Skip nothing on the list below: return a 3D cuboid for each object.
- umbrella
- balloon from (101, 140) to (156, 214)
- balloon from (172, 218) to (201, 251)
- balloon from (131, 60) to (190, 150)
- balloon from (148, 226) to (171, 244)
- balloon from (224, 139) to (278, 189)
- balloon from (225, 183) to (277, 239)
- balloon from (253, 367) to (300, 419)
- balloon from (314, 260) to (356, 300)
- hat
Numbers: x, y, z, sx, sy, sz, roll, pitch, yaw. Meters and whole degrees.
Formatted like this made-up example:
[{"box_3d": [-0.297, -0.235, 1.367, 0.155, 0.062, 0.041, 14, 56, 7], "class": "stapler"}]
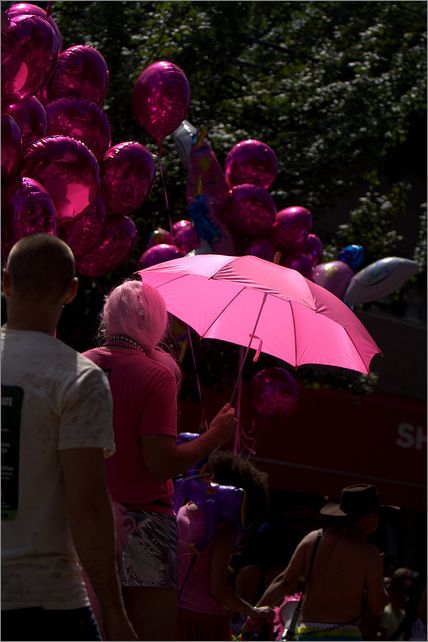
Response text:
[{"box_3d": [0.284, -0.020, 4.126, 1.561, 0.676, 1.509, 15, 7, -13], "class": "umbrella"}, {"box_3d": [-0.487, -0.812, 3.719, 0.188, 0.437, 0.430, 2, 3, 13], "class": "balloon"}, {"box_3d": [-0.239, -0.729, 5.687, 0.173, 0.287, 0.204, 26, -56, -31], "class": "balloon"}, {"box_3d": [-0.381, -1.630, 4.806, 0.382, 0.499, 0.425, 0, 3, -29], "class": "balloon"}, {"box_3d": [-0.478, -0.760, 5.966, 0.187, 0.200, 0.169, 8, -40, -1], "class": "balloon"}, {"box_3d": [0.290, -1.242, 5.292, 0.407, 0.405, 0.318, 1, 3, 0], "class": "balloon"}, {"box_3d": [0.191, -0.867, 5.334, 0.580, 0.324, 0.625, 1, -6, 1], "class": "balloon"}, {"box_3d": [0.525, 0.692, 6.265, 0.495, 0.487, 0.469, 0, 6, 4], "class": "balloon"}, {"box_3d": [1.071, -0.377, 6.199, 0.366, 0.335, 0.460, 5, -4, -10], "class": "balloon"}, {"box_3d": [0.790, 0.963, 3.584, 0.294, 0.098, 0.244, -3, -8, -45], "class": "hat"}]
